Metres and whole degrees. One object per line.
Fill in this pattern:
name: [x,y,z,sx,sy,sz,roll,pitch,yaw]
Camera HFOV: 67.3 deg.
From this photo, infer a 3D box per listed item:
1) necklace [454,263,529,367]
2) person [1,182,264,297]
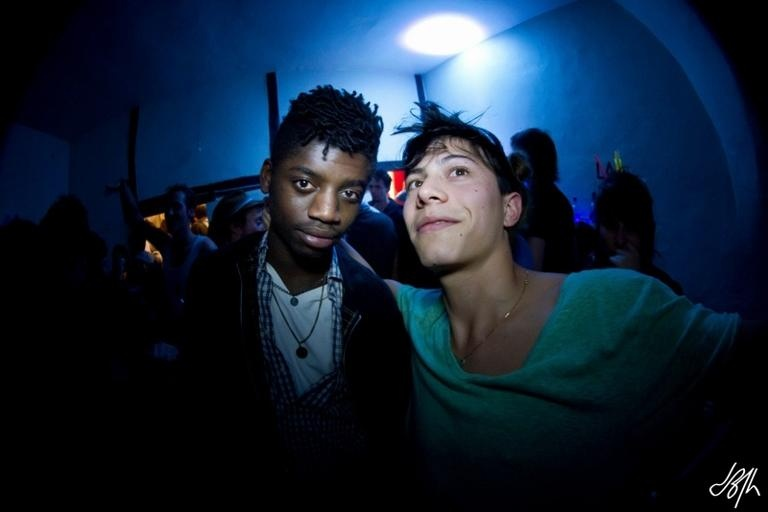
necklace: [0.698,0.394,3.576,0.136,0.611,0.427,23,19,-46]
person: [-1.801,-0.219,4.553,1.477,0.820,0.667,12,-10,-5]
